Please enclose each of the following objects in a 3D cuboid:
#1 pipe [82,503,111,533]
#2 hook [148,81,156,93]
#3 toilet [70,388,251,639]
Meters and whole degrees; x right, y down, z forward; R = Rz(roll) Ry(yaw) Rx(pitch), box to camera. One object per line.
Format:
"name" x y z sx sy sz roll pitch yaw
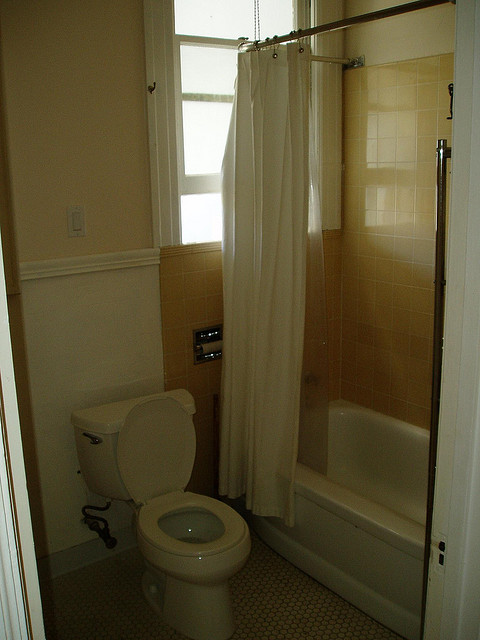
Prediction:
"pipe" -0.612 0.832 2.227 0.096 0.204 0.020 3 8 6
"hook" -0.351 -0.912 2.091 0.028 0.040 0.019 8 13 31
"toilet" -0.272 0.688 2.006 0.563 1.043 0.604 -9 19 -44
